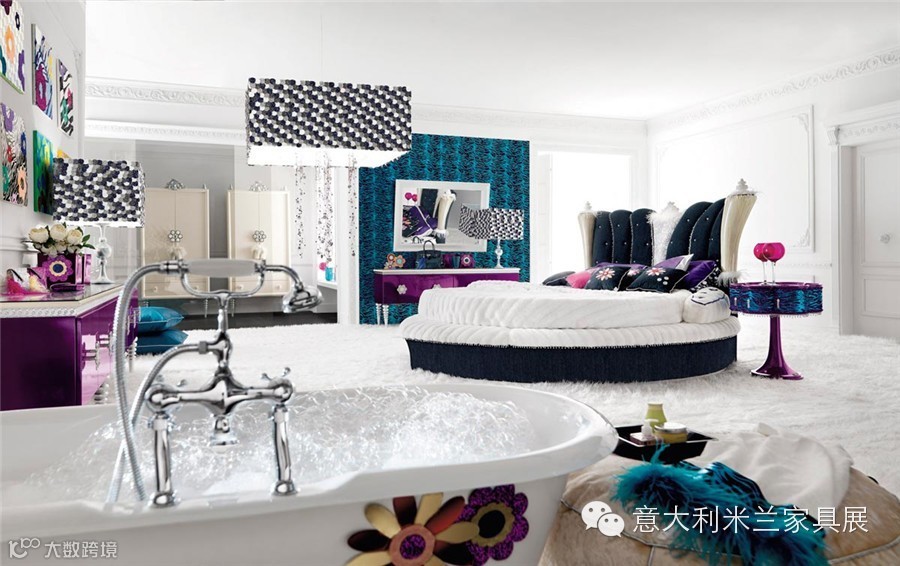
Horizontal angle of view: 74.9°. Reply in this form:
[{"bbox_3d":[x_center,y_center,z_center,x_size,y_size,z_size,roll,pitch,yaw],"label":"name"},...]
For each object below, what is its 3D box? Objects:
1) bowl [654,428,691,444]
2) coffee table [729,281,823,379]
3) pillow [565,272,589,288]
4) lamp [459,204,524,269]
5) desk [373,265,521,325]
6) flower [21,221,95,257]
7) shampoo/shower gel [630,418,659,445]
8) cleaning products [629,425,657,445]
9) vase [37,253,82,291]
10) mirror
[{"bbox_3d":[0.966,0.668,2.574,0.083,0.026,0.082,0,-5,0],"label":"bowl"},{"bbox_3d":[2.612,0.397,5.057,0.783,0.825,0.771,0,-3,-5],"label":"coffee table"},{"bbox_3d":[1.299,-0.029,5.962,0.173,0.056,0.180,-11,29,20],"label":"pillow"},{"bbox_3d":[0.549,-0.586,8.127,0.866,0.811,0.883,1,-2,1],"label":"lamp"},{"bbox_3d":[-0.063,0.126,7.986,1.939,0.650,0.560,-1,-2,7],"label":"desk"},{"bbox_3d":[-2.698,-0.299,4.048,0.331,0.219,0.176,-1,3,-44],"label":"flower"},{"bbox_3d":[0.849,0.651,2.574,0.091,0.083,0.089,-2,2,-21],"label":"shampoo/shower gel"},{"bbox_3d":[0.848,0.655,2.557,0.071,0.057,0.092,-2,2,-8],"label":"cleaning products"},{"bbox_3d":[-2.626,-0.076,3.973,0.315,0.295,0.309,0,0,-11],"label":"vase"},{"bbox_3d":[-0.187,-0.940,8.243,1.150,0.789,0.038,0,1,-11],"label":"mirror"}]
